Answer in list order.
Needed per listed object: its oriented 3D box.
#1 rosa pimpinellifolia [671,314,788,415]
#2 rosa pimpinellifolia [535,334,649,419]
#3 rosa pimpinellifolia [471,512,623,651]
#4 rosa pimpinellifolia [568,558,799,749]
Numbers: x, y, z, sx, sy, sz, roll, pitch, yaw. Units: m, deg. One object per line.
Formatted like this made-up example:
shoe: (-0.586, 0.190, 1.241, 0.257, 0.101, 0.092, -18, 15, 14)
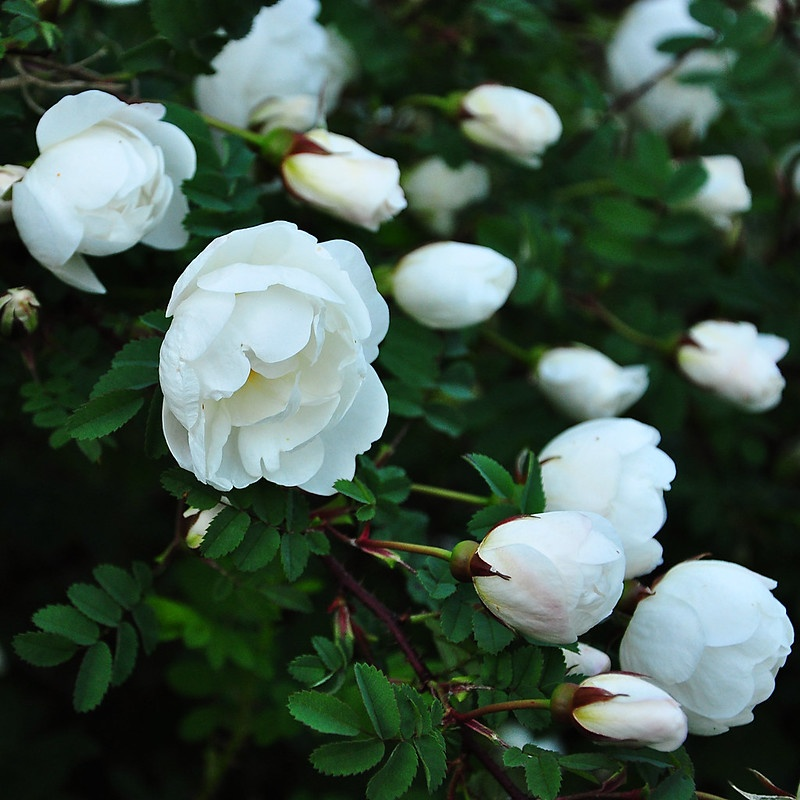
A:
rosa pimpinellifolia: (0.461, -0.054, 1.319, 0.154, 0.058, 0.112, 31, 87, 1)
rosa pimpinellifolia: (0.279, -0.037, 1.440, 0.153, 0.096, 0.080, 21, 72, 45)
rosa pimpinellifolia: (0.161, 0.183, 1.043, 0.149, 0.068, 0.132, 33, 65, 18)
rosa pimpinellifolia: (0.353, 0.275, 1.135, 0.241, 0.171, 0.179, 19, 90, -12)
